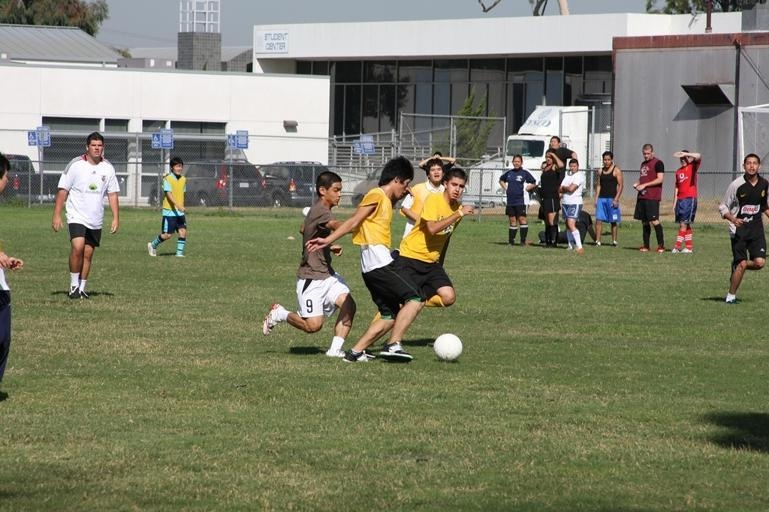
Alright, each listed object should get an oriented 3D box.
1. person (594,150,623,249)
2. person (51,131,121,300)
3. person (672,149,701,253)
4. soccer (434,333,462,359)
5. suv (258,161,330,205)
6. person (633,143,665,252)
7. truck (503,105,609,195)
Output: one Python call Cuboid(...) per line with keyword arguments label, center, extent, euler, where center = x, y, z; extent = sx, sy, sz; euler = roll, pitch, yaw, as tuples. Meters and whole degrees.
Cuboid(label="person", center=(5.957, -1.517, 36.100), extent=(0.808, 2.592, 0.818), euler=(2, 2, 34))
Cuboid(label="person", center=(-5.964, -0.847, 27.407), extent=(1.302, 3.303, 1.021), euler=(-1, 11, -35))
Cuboid(label="person", center=(7.777, -1.441, 34.955), extent=(1.039, 3.257, 0.866), euler=(0, 1, 13))
Cuboid(label="soccer", center=(1.183, 1.617, 24.411), extent=(0.431, 0.335, 0.440), euler=(-7, -5, 20))
Cuboid(label="suv", center=(-3.264, -2.535, 47.393), extent=(1.621, 1.507, 3.114), euler=(-2, 5, -37))
Cuboid(label="person", center=(6.946, -1.559, 35.412), extent=(0.951, 2.991, 0.745), euler=(2, 1, 35))
Cuboid(label="truck", center=(6.365, -4.561, 52.331), extent=(5.856, 3.216, 2.151), euler=(-4, 4, -42))
